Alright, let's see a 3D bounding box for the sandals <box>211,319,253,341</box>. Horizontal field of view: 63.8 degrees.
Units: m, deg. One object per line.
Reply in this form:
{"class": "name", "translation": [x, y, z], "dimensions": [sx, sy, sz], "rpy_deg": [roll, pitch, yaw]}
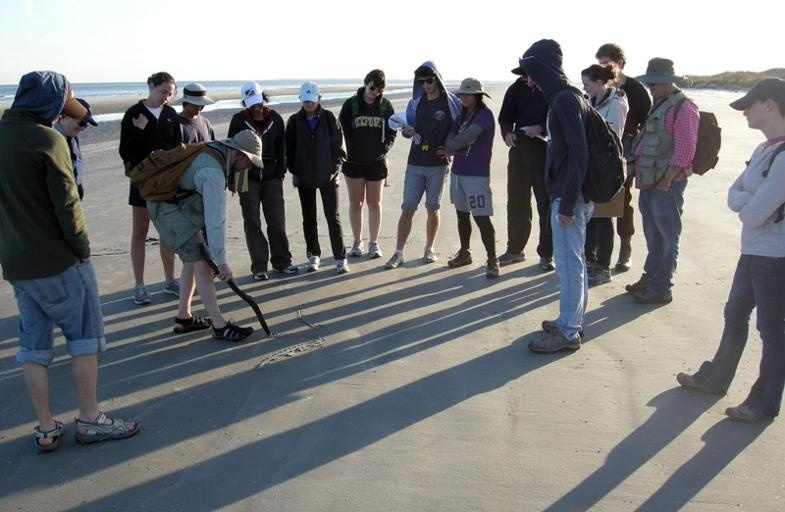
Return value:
{"class": "sandals", "translation": [-1.724, 0.795, 6.785], "dimensions": [0.379, 0.160, 0.196], "rpy_deg": [1, 16, 4]}

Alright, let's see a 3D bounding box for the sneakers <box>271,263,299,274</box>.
{"class": "sneakers", "translation": [-1.443, 0.163, 8.509], "dimensions": [0.335, 0.151, 0.134], "rpy_deg": [0, 8, 2]}

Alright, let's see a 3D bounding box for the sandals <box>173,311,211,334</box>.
{"class": "sandals", "translation": [-2.221, 0.749, 7.024], "dimensions": [0.384, 0.164, 0.175], "rpy_deg": [-7, 17, -22]}

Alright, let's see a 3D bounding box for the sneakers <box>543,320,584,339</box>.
{"class": "sneakers", "translation": [1.744, 0.768, 6.456], "dimensions": [0.347, 0.124, 0.220], "rpy_deg": [19, 18, -2]}

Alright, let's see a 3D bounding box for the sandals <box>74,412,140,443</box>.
{"class": "sandals", "translation": [-2.408, 1.460, 5.409], "dimensions": [0.516, 0.233, 0.226], "rpy_deg": [-5, 16, -18]}

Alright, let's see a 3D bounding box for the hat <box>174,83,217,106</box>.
{"class": "hat", "translation": [-2.495, -1.997, 7.923], "dimensions": [0.571, 0.299, 0.572], "rpy_deg": [-9, 27, -29]}

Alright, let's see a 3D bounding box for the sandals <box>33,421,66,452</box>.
{"class": "sandals", "translation": [-2.868, 1.527, 5.272], "dimensions": [0.138, 0.141, 0.326], "rpy_deg": [-2, 19, -17]}

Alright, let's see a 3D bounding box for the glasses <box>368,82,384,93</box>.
{"class": "glasses", "translation": [-0.213, -2.271, 8.524], "dimensions": [0.114, 0.114, 0.034], "rpy_deg": [0, -21, -20]}

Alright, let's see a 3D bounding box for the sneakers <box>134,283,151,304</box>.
{"class": "sneakers", "translation": [-2.976, 0.467, 7.519], "dimensions": [0.130, 0.144, 0.313], "rpy_deg": [-6, 12, -37]}

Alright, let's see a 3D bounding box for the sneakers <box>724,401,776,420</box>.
{"class": "sneakers", "translation": [3.052, 1.326, 5.451], "dimensions": [0.444, 0.187, 0.152], "rpy_deg": [-2, -2, 11]}

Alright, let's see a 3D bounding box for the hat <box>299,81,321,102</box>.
{"class": "hat", "translation": [-1.097, -2.157, 8.374], "dimensions": [0.253, 0.210, 0.360], "rpy_deg": [2, 37, -2]}

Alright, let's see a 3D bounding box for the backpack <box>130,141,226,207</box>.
{"class": "backpack", "translation": [-2.136, -0.770, 6.434], "dimensions": [0.795, 0.377, 0.536], "rpy_deg": [-24, 54, 2]}

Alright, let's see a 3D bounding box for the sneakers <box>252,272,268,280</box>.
{"class": "sneakers", "translation": [-1.719, 0.265, 8.320], "dimensions": [0.096, 0.064, 0.152], "rpy_deg": [-1, 5, 6]}

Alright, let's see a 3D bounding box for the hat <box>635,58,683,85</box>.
{"class": "hat", "translation": [3.007, -2.064, 7.056], "dimensions": [0.454, 0.291, 0.393], "rpy_deg": [5, 19, 17]}

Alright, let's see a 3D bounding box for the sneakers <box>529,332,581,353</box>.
{"class": "sneakers", "translation": [1.621, 0.865, 6.420], "dimensions": [0.498, 0.223, 0.202], "rpy_deg": [2, 5, -3]}

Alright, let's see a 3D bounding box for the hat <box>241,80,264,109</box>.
{"class": "hat", "translation": [-1.800, -2.093, 8.166], "dimensions": [0.306, 0.335, 0.536], "rpy_deg": [-5, 19, -12]}

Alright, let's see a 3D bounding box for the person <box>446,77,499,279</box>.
{"class": "person", "translation": [1.065, -1.027, 8.219], "dimensions": [0.666, 2.453, 1.009], "rpy_deg": [-8, 20, -21]}

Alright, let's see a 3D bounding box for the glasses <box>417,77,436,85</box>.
{"class": "glasses", "translation": [0.424, -2.322, 8.344], "dimensions": [0.094, 0.086, 0.301], "rpy_deg": [-17, 24, -39]}
